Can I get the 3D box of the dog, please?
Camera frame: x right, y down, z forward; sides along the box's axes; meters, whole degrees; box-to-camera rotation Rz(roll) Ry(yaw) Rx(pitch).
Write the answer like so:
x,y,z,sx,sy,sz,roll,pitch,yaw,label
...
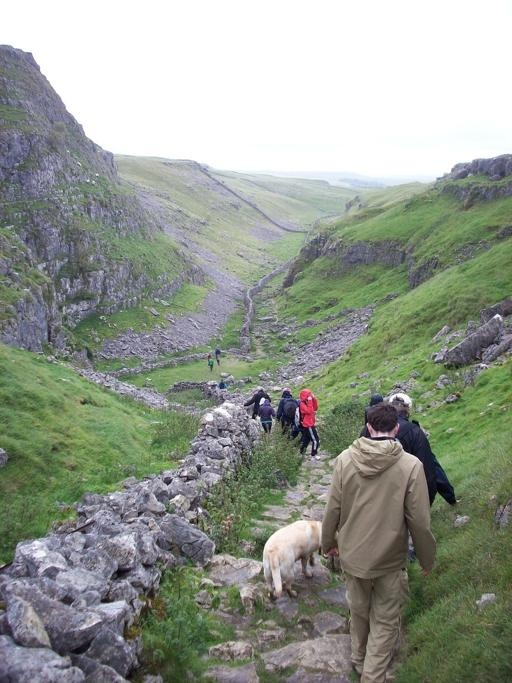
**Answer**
x,y,z,sx,sy,sz,roll,pitch,yaw,label
0.607,3.079,8.018,0.466,0.886,1.749,-2,2,32,dog
